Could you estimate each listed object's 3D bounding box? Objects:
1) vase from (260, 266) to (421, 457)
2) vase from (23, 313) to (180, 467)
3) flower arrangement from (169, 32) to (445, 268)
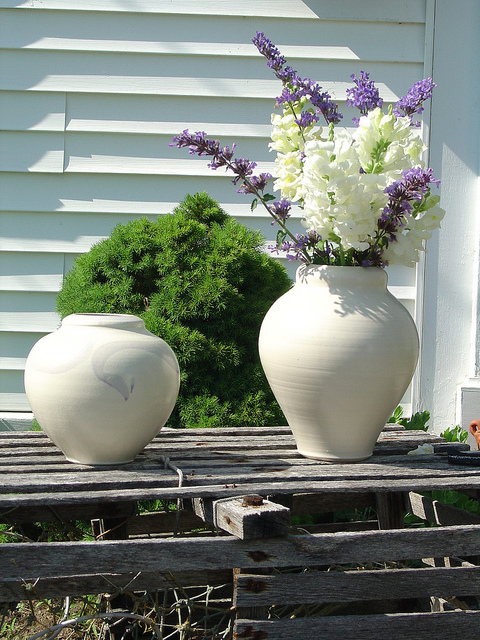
[{"bbox_3d":[0.216,0.086,2.343,0.386,0.386,0.370,7,5,12],"label":"vase"},{"bbox_3d":[-0.298,0.155,2.276,0.362,0.299,0.338,1,2,-40],"label":"vase"},{"bbox_3d":[0.190,-0.351,2.270,0.482,0.503,0.340,4,16,29],"label":"flower arrangement"}]
